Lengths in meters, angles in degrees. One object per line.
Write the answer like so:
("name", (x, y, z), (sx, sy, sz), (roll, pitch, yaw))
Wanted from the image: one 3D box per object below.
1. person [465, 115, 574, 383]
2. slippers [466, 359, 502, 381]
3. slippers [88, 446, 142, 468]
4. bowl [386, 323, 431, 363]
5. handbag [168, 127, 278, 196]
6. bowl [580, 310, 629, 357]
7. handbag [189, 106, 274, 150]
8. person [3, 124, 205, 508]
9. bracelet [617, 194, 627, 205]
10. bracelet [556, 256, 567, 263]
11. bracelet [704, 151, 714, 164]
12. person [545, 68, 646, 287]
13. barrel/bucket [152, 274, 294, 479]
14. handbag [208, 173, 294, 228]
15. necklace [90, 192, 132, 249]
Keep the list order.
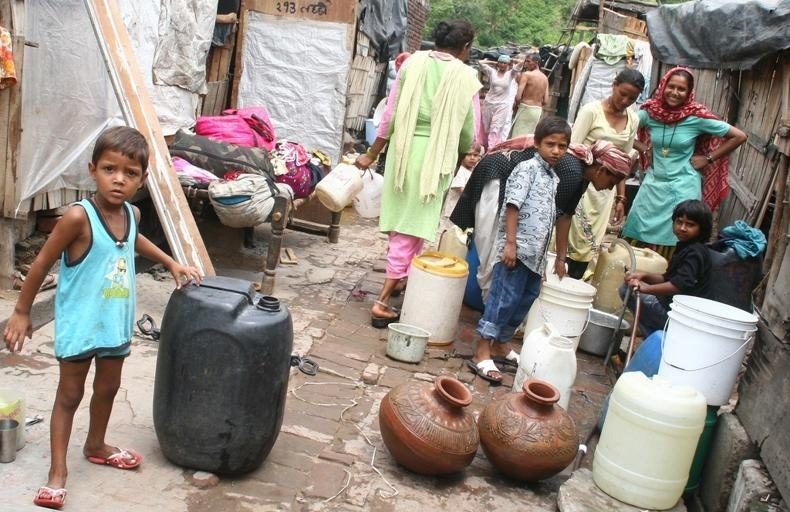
("person", (1.084, -0.062, 5.267), (0.447, 2.303, 0.702), (16, 19, 30))
("slippers", (0.796, 1.007, 5.358), (0.131, 0.102, 0.326), (-2, 13, -34))
("slippers", (-1.728, 1.255, 3.722), (0.256, 0.065, 0.138), (5, 20, 6))
("bowl", (0.118, 0.800, 5.478), (0.427, 0.266, 0.418), (11, 5, -1))
("handbag", (-1.852, -1.062, 6.487), (1.044, 0.331, 0.648), (18, 6, 1))
("bowl", (2.063, 0.790, 6.180), (0.489, 0.317, 0.478), (23, 5, -2))
("handbag", (-2.002, -1.586, 7.524), (0.908, 0.298, 1.074), (-4, -8, -24))
("person", (-1.771, 0.311, 3.539), (0.624, 2.108, 0.956), (15, 18, 25))
("bracelet", (2.598, -0.666, 6.881), (0.119, 0.111, 0.101), (8, -13, 4))
("bracelet", (1.534, 0.030, 5.566), (0.049, 0.050, 0.044), (55, -4, 25))
("bracelet", (3.323, -1.051, 6.375), (0.095, 0.119, 0.137), (3, -1, 6))
("person", (2.304, -0.828, 6.778), (0.707, 2.503, 0.646), (0, 29, -1))
("barrel/bucket", (-1.111, 0.815, 3.963), (0.863, 1.103, 0.651), (8, 8, 6))
("handbag", (-1.557, -0.576, 6.384), (0.850, 0.439, 0.949), (-6, 4, 14))
("necklace", (-1.658, -0.233, 3.645), (0.223, 0.342, 0.325), (-12, -11, -15))
